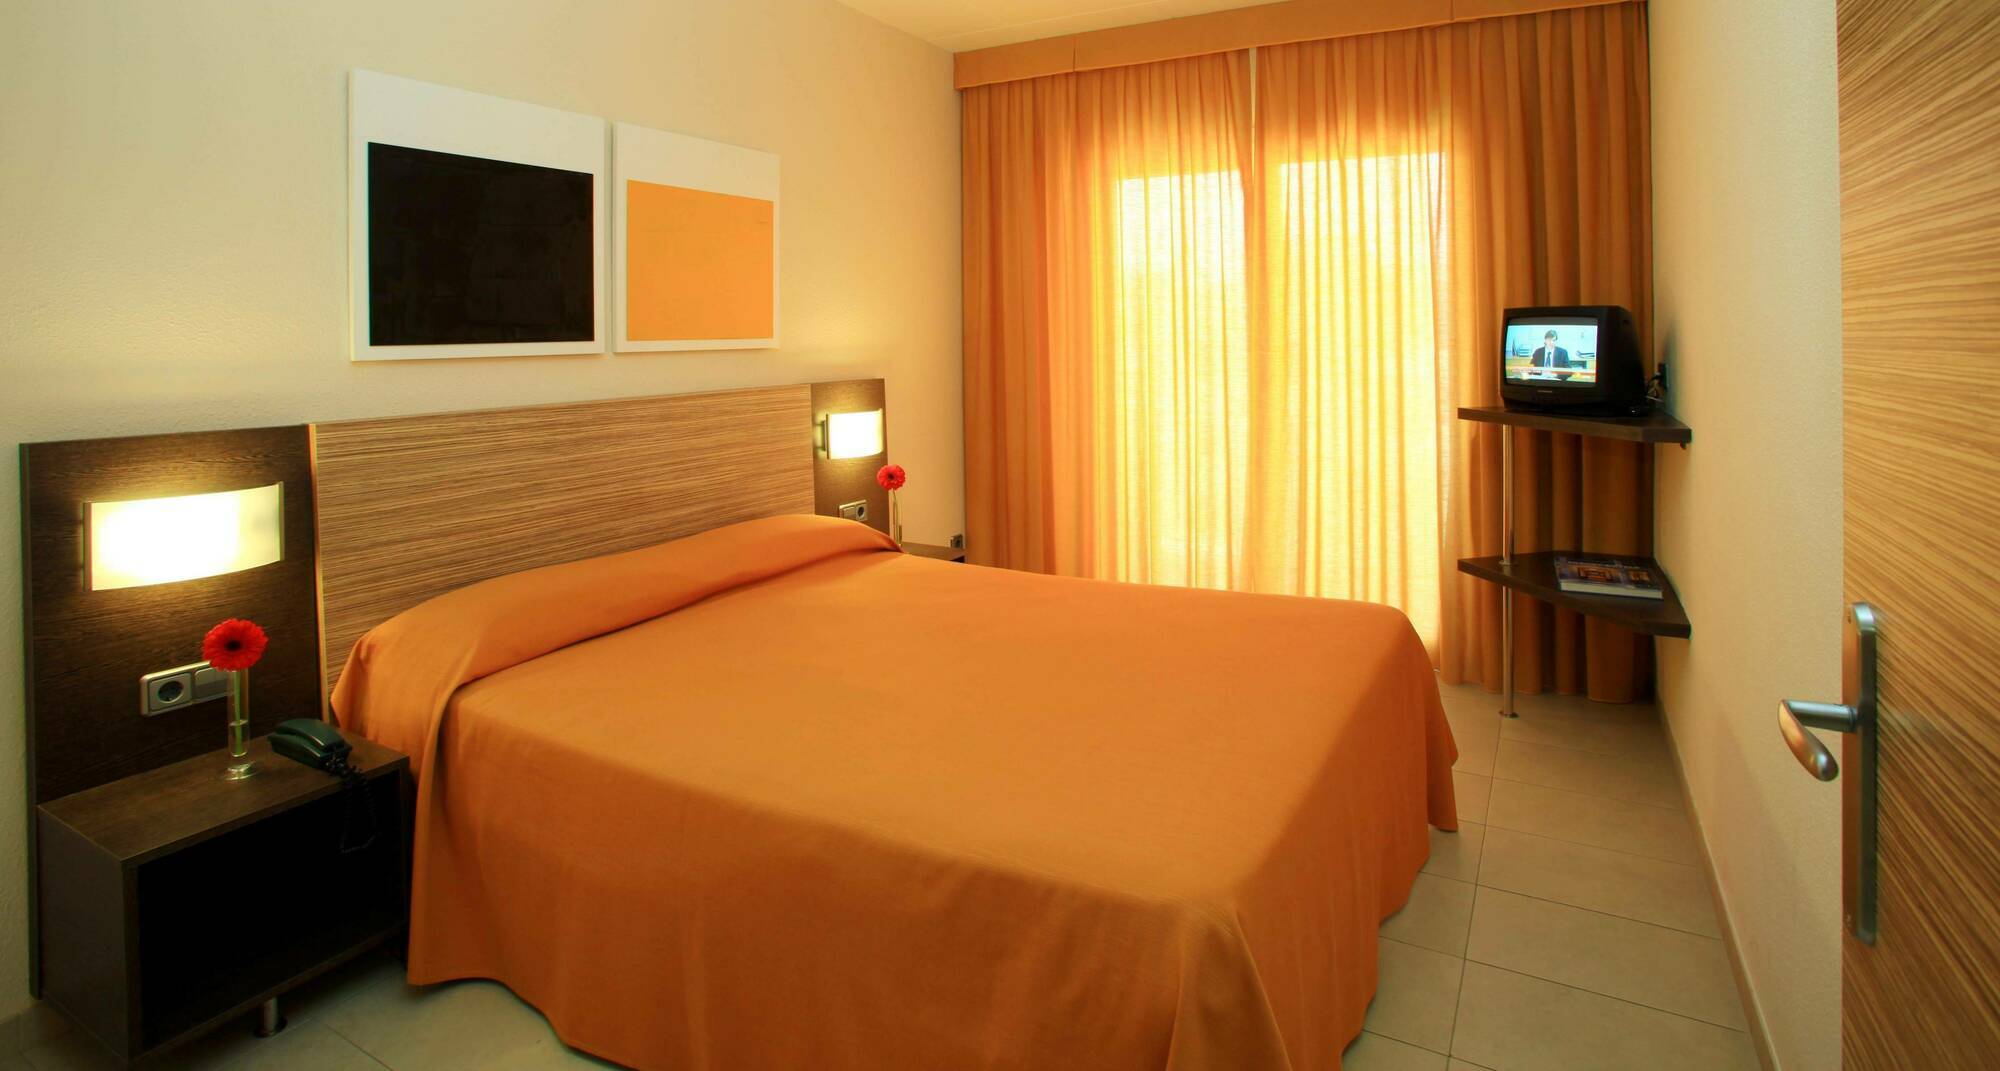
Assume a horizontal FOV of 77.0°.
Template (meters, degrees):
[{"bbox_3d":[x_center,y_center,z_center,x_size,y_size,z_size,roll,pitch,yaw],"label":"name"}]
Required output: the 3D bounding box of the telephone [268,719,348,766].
[{"bbox_3d":[-2.556,0.767,4.651,0.282,0.095,0.154,5,7,25],"label":"telephone"}]

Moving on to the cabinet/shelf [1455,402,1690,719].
[{"bbox_3d":[2.722,0.182,6.136,0.977,1.539,1.258,2,13,19],"label":"cabinet/shelf"}]

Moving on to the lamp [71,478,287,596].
[{"bbox_3d":[-2.986,0.000,4.597,0.120,0.375,0.724,0,1,27],"label":"lamp"}]

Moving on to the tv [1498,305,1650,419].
[{"bbox_3d":[2.804,-0.847,6.264,0.625,0.493,0.600,-8,9,-36],"label":"tv"}]

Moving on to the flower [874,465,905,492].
[{"bbox_3d":[-0.617,-0.321,6.889,0.153,0.059,0.144,-10,4,2],"label":"flower"}]
